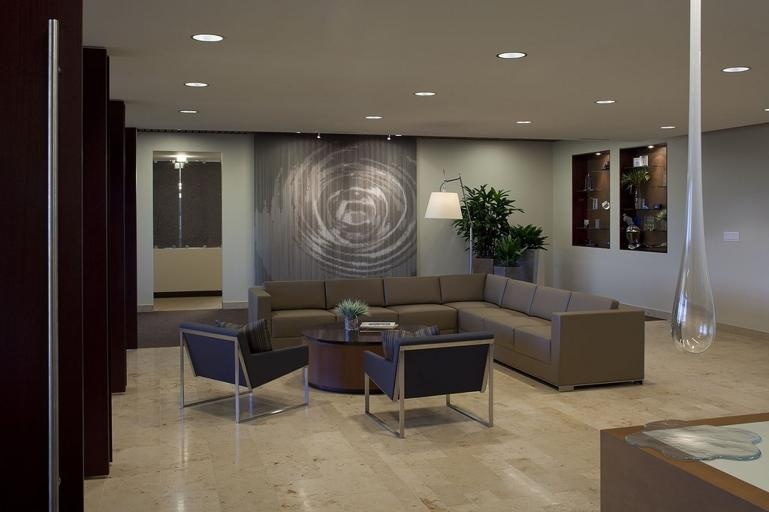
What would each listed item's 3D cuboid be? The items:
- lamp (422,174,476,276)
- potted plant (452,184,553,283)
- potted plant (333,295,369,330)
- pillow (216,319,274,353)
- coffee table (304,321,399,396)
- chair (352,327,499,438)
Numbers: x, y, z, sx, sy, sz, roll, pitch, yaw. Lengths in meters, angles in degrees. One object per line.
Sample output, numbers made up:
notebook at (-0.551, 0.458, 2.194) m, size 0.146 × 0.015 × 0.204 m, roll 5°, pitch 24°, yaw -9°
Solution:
lamp at (1.262, -0.529, 10.098) m, size 0.792 × 1.961 × 2.790 m, roll 1°, pitch 6°, yaw 9°
potted plant at (2.717, -0.506, 10.961) m, size 2.071 × 2.457 × 1.697 m, roll 1°, pitch -2°, yaw -22°
potted plant at (-0.365, 0.659, 6.435) m, size 0.379 × 0.364 × 0.375 m, roll 3°, pitch -4°, yaw -31°
pillow at (-1.302, 0.751, 5.227) m, size 0.384 × 0.146 × 0.380 m, roll 8°, pitch 6°, yaw -17°
coffee table at (-0.502, 1.169, 6.162) m, size 0.775 × 0.449 × 0.779 m, roll 1°, pitch 1°, yaw 3°
chair at (0.395, 1.008, 5.170) m, size 1.068 × 0.919 × 0.957 m, roll 0°, pitch 1°, yaw -19°
